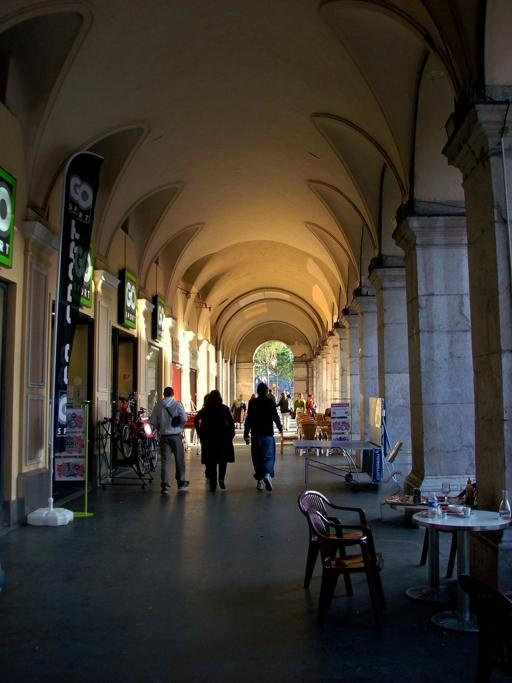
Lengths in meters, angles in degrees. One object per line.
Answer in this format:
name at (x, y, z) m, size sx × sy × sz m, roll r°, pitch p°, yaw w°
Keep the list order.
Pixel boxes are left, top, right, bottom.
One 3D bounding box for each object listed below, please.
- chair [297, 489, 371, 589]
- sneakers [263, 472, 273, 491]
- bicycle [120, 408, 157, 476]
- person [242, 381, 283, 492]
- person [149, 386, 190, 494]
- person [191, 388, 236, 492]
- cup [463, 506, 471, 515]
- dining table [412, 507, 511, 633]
chair at (0.558, 1.431, 3.767) m, size 0.380 × 0.665 × 0.492 m, roll 3°, pitch 13°, yaw -10°
sneakers at (0.194, 2.367, 8.683) m, size 0.090 × 0.341 × 0.160 m, roll -3°, pitch 15°, yaw 9°
bicycle at (-2.487, 2.072, 10.237) m, size 0.678 × 1.285 × 1.817 m, roll -3°, pitch -11°, yaw 2°
person at (0.097, 1.608, 8.941) m, size 0.606 × 1.790 × 1.078 m, roll -1°, pitch -6°, yaw 2°
person at (-1.442, 1.615, 8.689) m, size 0.577 × 1.711 × 0.985 m, roll 0°, pitch -6°, yaw -9°
person at (-0.727, 1.670, 8.970) m, size 0.644 × 1.677 × 0.795 m, roll 0°, pitch -6°, yaw -7°
cup at (1.288, 1.026, 3.180) m, size 0.035 × 0.058 × 0.050 m, roll 0°, pitch -4°, yaw 4°
dining table at (1.225, 1.336, 3.151) m, size 0.525 × 0.603 × 0.884 m, roll -2°, pitch -7°, yaw 3°
